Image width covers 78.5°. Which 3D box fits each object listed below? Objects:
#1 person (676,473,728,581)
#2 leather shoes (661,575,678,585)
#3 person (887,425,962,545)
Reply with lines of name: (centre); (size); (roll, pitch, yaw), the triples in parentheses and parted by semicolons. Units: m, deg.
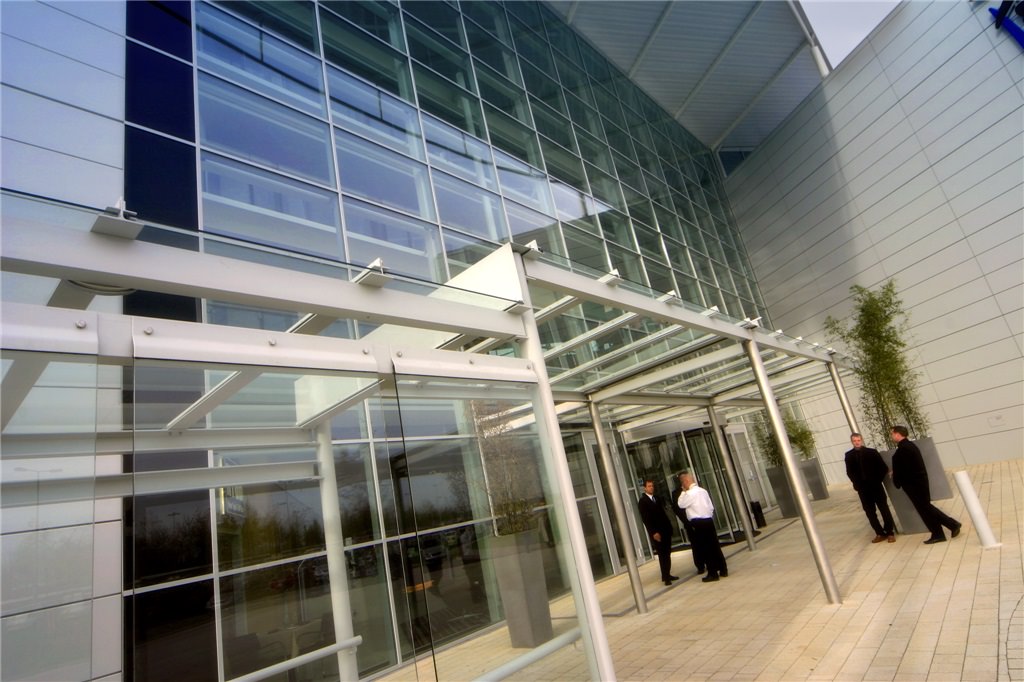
person: (4.199, 4.101, 14.048); (0.680, 2.333, 1.053); (-13, -17, 10)
leather shoes: (3.627, 5.447, 14.346); (0.453, 0.170, 0.145); (-3, -4, -34)
person: (8.044, 2.781, 12.445); (0.824, 2.328, 0.904); (-19, -19, 28)
